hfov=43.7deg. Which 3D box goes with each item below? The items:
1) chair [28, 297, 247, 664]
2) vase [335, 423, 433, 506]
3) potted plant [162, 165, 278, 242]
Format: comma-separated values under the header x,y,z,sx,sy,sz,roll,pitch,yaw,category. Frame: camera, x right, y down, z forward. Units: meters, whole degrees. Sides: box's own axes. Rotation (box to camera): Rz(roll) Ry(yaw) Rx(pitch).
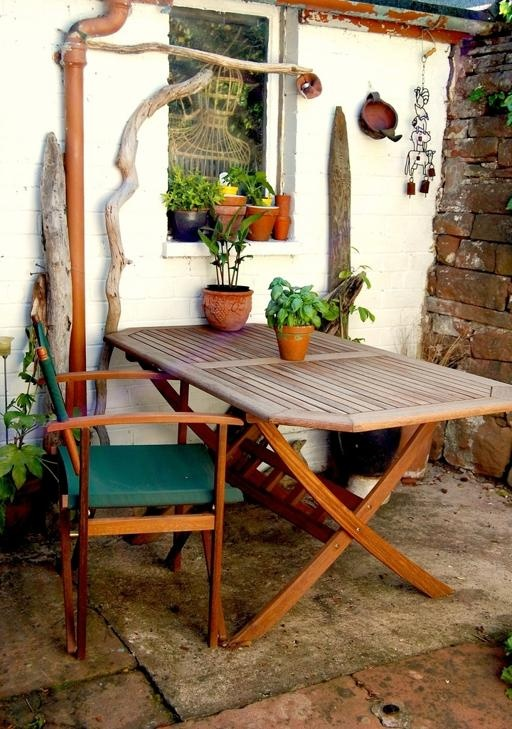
x,y,z,sx,sy,sz,roll,pitch,yaw,category
-0.354,0.325,1.962,0.601,0.933,0.786,0,8,-17,chair
0.623,0.410,3.111,0.495,0.493,0.448,0,0,14,vase
-0.169,-0.729,2.802,0.501,0.304,0.350,0,4,-24,potted plant
